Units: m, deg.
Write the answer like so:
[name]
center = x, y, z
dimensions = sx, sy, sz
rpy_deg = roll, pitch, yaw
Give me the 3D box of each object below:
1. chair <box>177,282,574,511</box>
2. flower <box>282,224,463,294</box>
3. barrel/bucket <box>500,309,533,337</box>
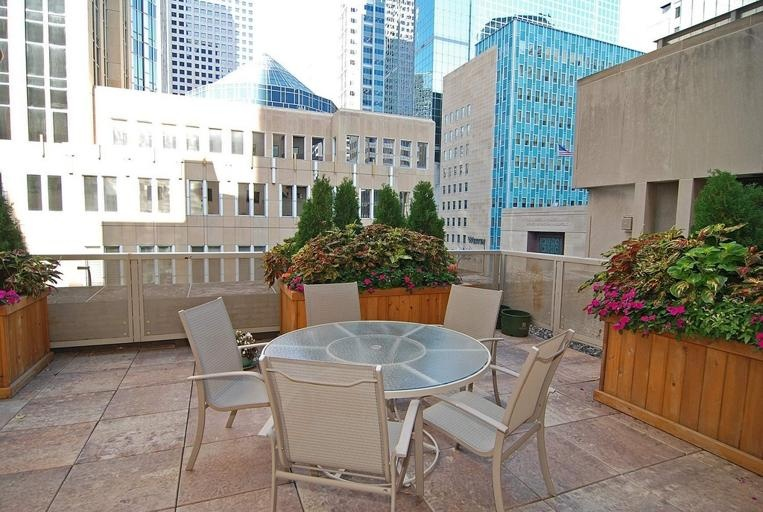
[chair]
center = -0.168, 1.846, 5.955
dimensions = 4.082, 1.907, 2.564
rpy_deg = -5, 5, -22
[flower]
center = -0.222, 0.067, 8.874
dimensions = 2.073, 0.774, 1.482
rpy_deg = 0, 1, -14
[barrel/bucket]
center = 2.556, 1.274, 9.651
dimensions = 0.497, 0.368, 0.487
rpy_deg = 0, 1, 0
